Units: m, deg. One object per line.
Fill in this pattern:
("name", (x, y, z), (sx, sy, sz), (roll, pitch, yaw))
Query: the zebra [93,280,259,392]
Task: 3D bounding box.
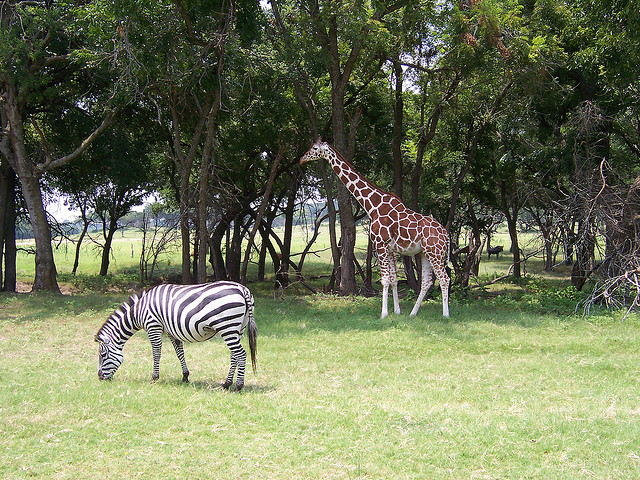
("zebra", (-3.107, 2.125, 14.134), (3.680, 2.372, 1.166), (-3, 5, 12))
